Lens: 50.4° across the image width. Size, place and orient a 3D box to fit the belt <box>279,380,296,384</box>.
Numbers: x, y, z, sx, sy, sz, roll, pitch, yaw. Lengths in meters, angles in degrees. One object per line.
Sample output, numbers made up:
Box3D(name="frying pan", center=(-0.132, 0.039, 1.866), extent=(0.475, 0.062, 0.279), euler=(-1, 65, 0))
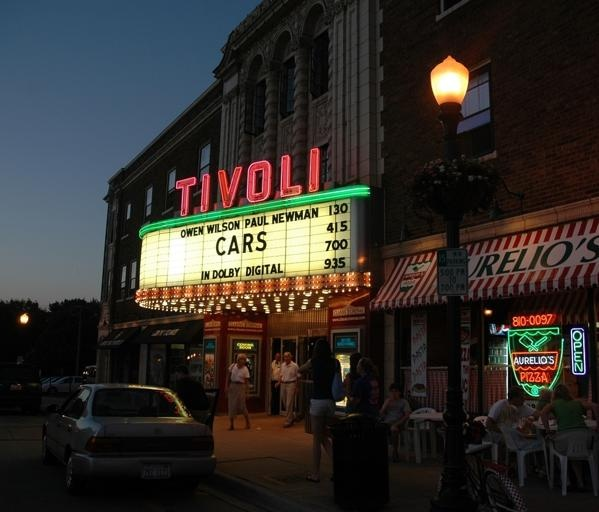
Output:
Box3D(name="belt", center=(-0.359, 3.759, 18.954), extent=(0.480, 0.108, 0.231), euler=(-4, -12, 21))

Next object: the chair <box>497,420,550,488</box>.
Box3D(name="chair", center=(3.677, 3.347, 10.951), extent=(0.806, 1.264, 0.806), euler=(-2, -3, -18))

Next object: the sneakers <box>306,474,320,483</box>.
Box3D(name="sneakers", center=(0.214, 3.613, 10.350), extent=(0.086, 0.081, 0.187), euler=(2, 2, -29))

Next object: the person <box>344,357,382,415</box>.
Box3D(name="person", center=(1.117, 2.293, 11.278), extent=(0.550, 1.017, 1.315), euler=(0, -11, 5))
